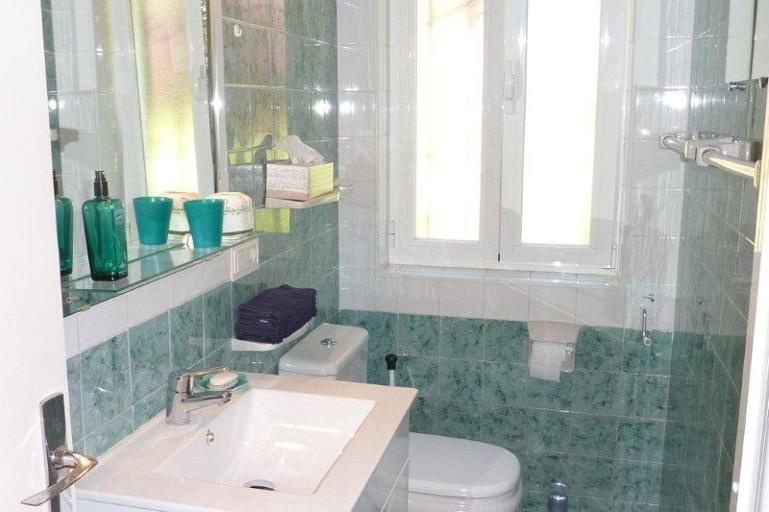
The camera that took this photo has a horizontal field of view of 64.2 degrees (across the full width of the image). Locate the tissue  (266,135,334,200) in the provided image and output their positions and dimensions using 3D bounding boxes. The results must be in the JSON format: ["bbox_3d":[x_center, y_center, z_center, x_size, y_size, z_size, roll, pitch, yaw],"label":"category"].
[{"bbox_3d":[-0.302,-0.326,2.222,0.173,0.199,0.231,8,15,19],"label":"tissue "}]

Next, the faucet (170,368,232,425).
[{"bbox_3d":[-0.537,0.392,1.741,0.206,0.156,0.067,0,9,-3],"label":"faucet"}]

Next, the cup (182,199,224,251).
[{"bbox_3d":[-0.499,-0.086,1.698,0.108,0.123,0.111,-4,1,0],"label":"cup"}]

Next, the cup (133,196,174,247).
[{"bbox_3d":[-0.619,-0.096,1.627,0.105,0.117,0.099,5,14,-1],"label":"cup"}]

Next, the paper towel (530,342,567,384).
[{"bbox_3d":[0.694,0.452,2.624,0.155,0.159,0.038,7,-1,9],"label":"paper towel"}]

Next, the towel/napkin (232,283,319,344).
[{"bbox_3d":[-0.372,0.199,2.148,0.140,0.077,0.238,6,12,15],"label":"towel/napkin"}]
